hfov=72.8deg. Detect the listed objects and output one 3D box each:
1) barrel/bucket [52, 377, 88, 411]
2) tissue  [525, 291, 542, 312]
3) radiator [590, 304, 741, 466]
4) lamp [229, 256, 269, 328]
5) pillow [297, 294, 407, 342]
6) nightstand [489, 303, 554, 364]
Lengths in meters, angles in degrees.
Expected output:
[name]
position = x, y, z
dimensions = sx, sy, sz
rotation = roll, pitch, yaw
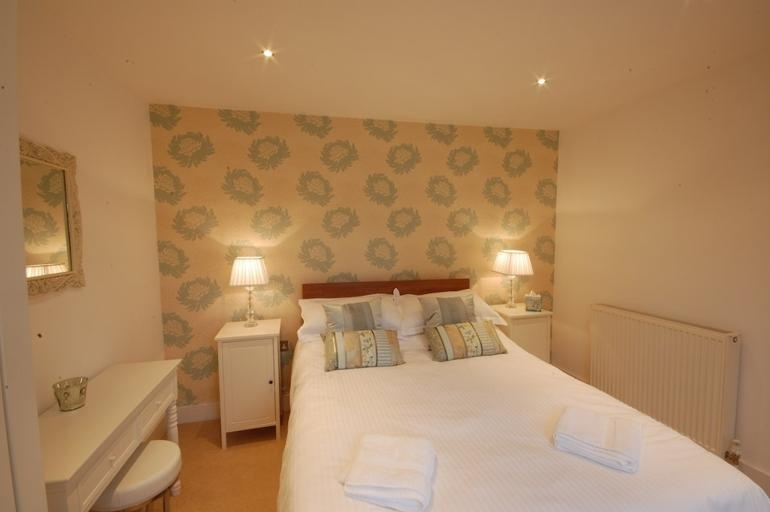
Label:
[barrel/bucket]
position = -2.062, 0.907, 3.439
dimensions = 0.191, 0.183, 0.209
rotation = -2, -6, 0
[tissue ]
position = 1.476, 0.449, 5.221
dimensions = 0.175, 0.253, 0.179
rotation = -1, 4, -6
[radiator]
position = 2.200, 0.989, 4.004
dimensions = 0.158, 1.023, 1.083
rotation = -2, 6, -26
[lamp]
position = -1.193, 0.299, 4.622
dimensions = 0.320, 0.639, 0.312
rotation = -4, 0, -14
[pillow]
position = -0.282, 0.544, 4.528
dimensions = 0.810, 0.366, 0.262
rotation = -1, 4, -14
[nightstand]
position = 1.351, 0.675, 5.206
dimensions = 0.567, 0.838, 0.499
rotation = -1, 14, -7
